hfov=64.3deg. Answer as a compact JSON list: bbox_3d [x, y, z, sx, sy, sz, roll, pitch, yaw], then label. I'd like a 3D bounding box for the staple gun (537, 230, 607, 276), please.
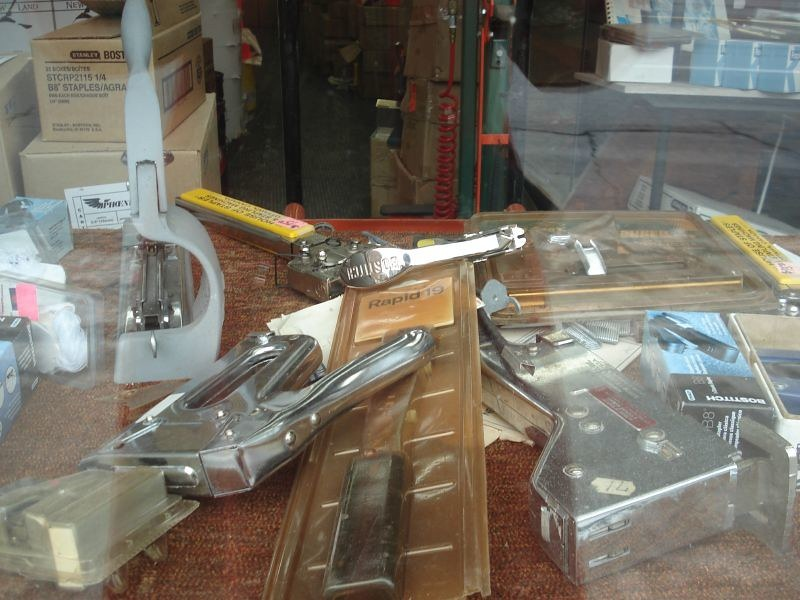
[{"bbox_3d":[0.204,-0.056,0.748,0.045,0.019,0.065,-14,32,0],"label":"staple gun"}]

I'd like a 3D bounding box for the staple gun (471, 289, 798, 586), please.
[{"bbox_3d":[0.186,0.106,0.518,0.198,0.063,0.209,-5,35,6],"label":"staple gun"}]
